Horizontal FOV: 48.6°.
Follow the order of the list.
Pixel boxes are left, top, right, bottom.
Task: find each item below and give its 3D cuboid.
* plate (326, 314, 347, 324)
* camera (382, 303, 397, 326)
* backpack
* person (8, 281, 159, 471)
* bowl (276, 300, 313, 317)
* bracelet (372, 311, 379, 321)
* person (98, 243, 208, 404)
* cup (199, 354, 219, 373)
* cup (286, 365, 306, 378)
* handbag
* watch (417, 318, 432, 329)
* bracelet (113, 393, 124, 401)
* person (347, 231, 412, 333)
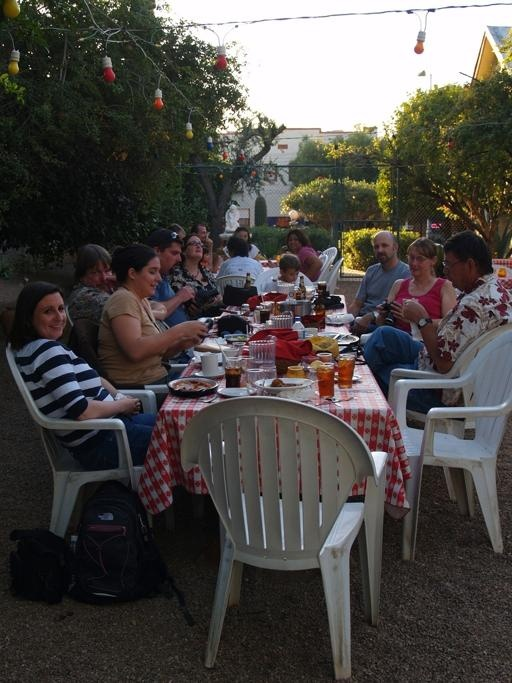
[{"bbox_3d":[0.577,-0.155,4.019,0.103,0.036,0.077,-3,12,-23],"label":"plate"},{"bbox_3d":[0.963,-0.196,4.153,0.065,0.186,0.128,0,-2,-18],"label":"camera"},{"bbox_3d":[-0.513,0.765,2.089,0.390,0.441,0.240,0,7,-3],"label":"backpack"},{"bbox_3d":[-0.673,0.145,2.431,0.640,0.726,0.434,-8,2,-30],"label":"person"},{"bbox_3d":[0.288,-0.242,4.065,0.196,0.142,0.129,0,5,2],"label":"bowl"},{"bbox_3d":[1.005,-0.214,4.758,0.084,0.035,0.087,2,23,15],"label":"bracelet"},{"bbox_3d":[-0.596,-0.172,3.095,0.677,0.952,0.649,0,20,-10],"label":"person"},{"bbox_3d":[-0.198,0.099,2.437,0.057,0.086,0.095,-1,7,2],"label":"cup"},{"bbox_3d":[0.164,0.123,2.311,0.049,0.051,0.050,0,0,0],"label":"cup"},{"bbox_3d":[-0.773,0.837,2.190,0.262,0.274,0.206,4,7,-6],"label":"handbag"},{"bbox_3d":[0.859,-0.090,2.890,0.065,0.043,0.068,4,-6,-18],"label":"watch"},{"bbox_3d":[-0.641,0.258,2.644,0.040,0.023,0.052,1,1,0],"label":"bracelet"},{"bbox_3d":[1.060,-0.506,5.026,0.523,0.904,0.636,12,19,43],"label":"person"}]
